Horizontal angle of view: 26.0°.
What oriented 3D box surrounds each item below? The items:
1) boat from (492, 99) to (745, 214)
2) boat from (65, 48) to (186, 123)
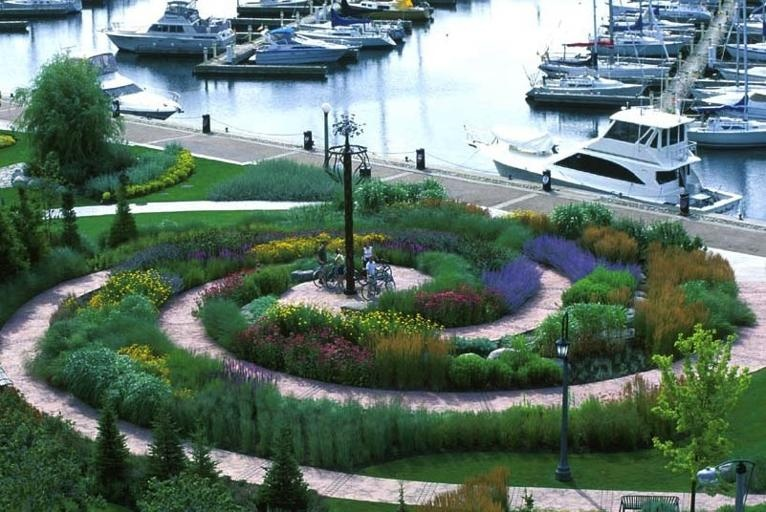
[{"bbox_3d":[11.457,-5.399,86.923,14.027,5.455,5.245,16,21,32],"label":"boat"},{"bbox_3d":[-14.784,-10.020,97.969,4.571,4.125,2.847,-2,14,-10],"label":"boat"}]
